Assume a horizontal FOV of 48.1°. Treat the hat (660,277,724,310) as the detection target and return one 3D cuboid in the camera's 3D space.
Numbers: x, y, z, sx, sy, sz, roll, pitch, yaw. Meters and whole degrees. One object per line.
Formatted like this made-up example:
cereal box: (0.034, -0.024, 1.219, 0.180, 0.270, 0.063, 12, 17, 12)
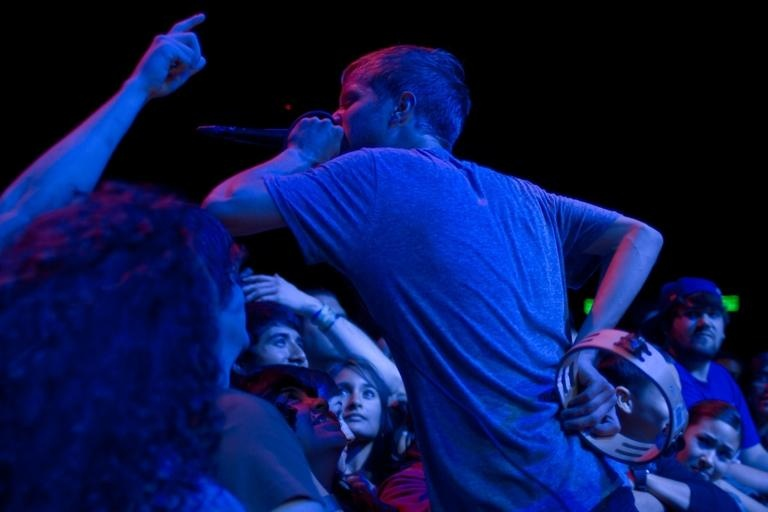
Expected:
hat: (1.986, 0.236, 5.694, 0.302, 0.217, 0.476, 2, 0, -38)
